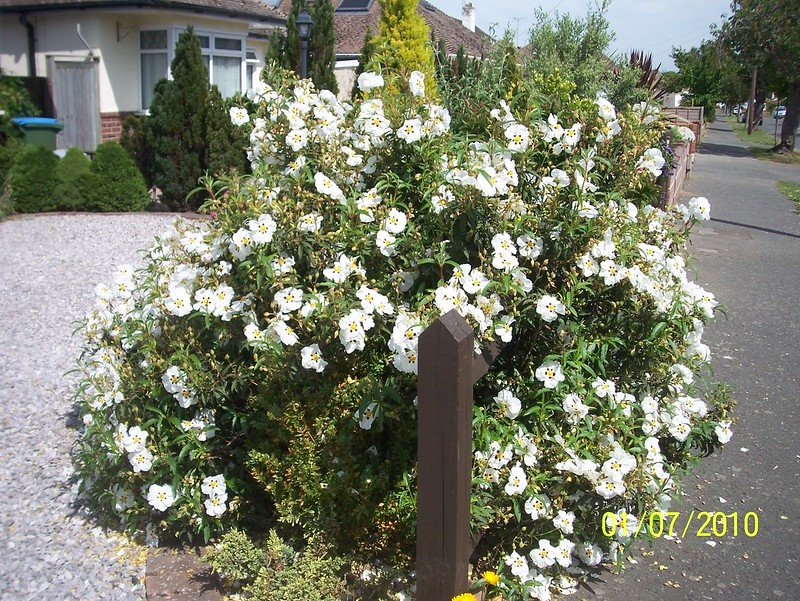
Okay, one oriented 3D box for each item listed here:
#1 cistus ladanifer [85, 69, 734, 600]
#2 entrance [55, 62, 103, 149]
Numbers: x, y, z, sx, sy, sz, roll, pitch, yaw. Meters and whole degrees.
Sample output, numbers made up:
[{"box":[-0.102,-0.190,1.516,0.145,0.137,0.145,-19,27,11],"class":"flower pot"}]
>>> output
[{"box":[-0.151,0.121,4.063,2.901,2.965,3.185,-4,14,-13],"class":"cistus ladanifer"},{"box":[-7.716,-4.528,13.650,0.232,2.379,1.017,40,41,20],"class":"entrance"}]
